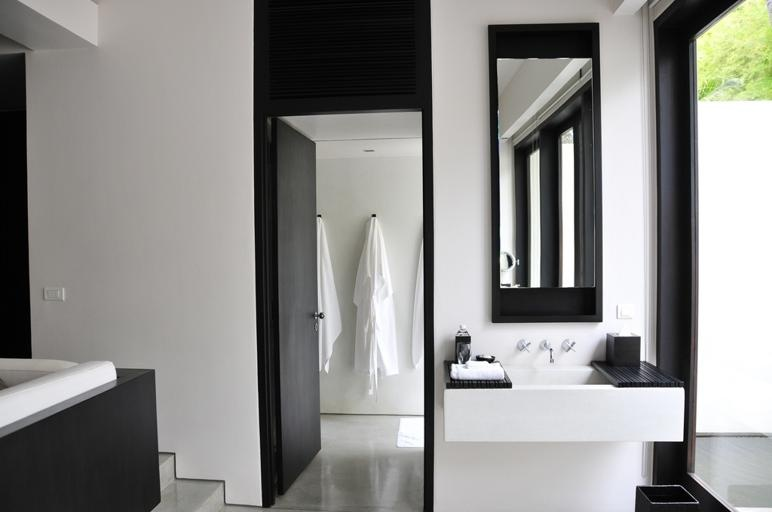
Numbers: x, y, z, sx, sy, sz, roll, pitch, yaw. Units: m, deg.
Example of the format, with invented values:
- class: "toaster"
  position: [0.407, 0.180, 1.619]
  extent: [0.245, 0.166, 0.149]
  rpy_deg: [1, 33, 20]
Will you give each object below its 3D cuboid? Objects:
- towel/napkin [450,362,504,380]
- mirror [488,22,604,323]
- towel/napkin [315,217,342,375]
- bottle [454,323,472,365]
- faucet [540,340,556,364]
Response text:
- class: "towel/napkin"
  position: [0.593, 0.742, 3.853]
  extent: [0.343, 0.110, 0.212]
  rpy_deg: [2, 0, 9]
- class: "mirror"
  position: [1.088, -0.565, 4.094]
  extent: [0.730, 2.067, 0.149]
  rpy_deg: [0, -7, 11]
- class: "towel/napkin"
  position: [-0.494, 0.344, 5.169]
  extent: [0.218, 1.350, 0.365]
  rpy_deg: [2, 0, -8]
- class: "bottle"
  position: [0.526, 0.599, 4.029]
  extent: [0.125, 0.268, 0.144]
  rpy_deg: [-3, 7, -5]
- class: "faucet"
  position: [1.094, 0.646, 4.038]
  extent: [0.104, 0.151, 0.033]
  rpy_deg: [2, 0, -11]
